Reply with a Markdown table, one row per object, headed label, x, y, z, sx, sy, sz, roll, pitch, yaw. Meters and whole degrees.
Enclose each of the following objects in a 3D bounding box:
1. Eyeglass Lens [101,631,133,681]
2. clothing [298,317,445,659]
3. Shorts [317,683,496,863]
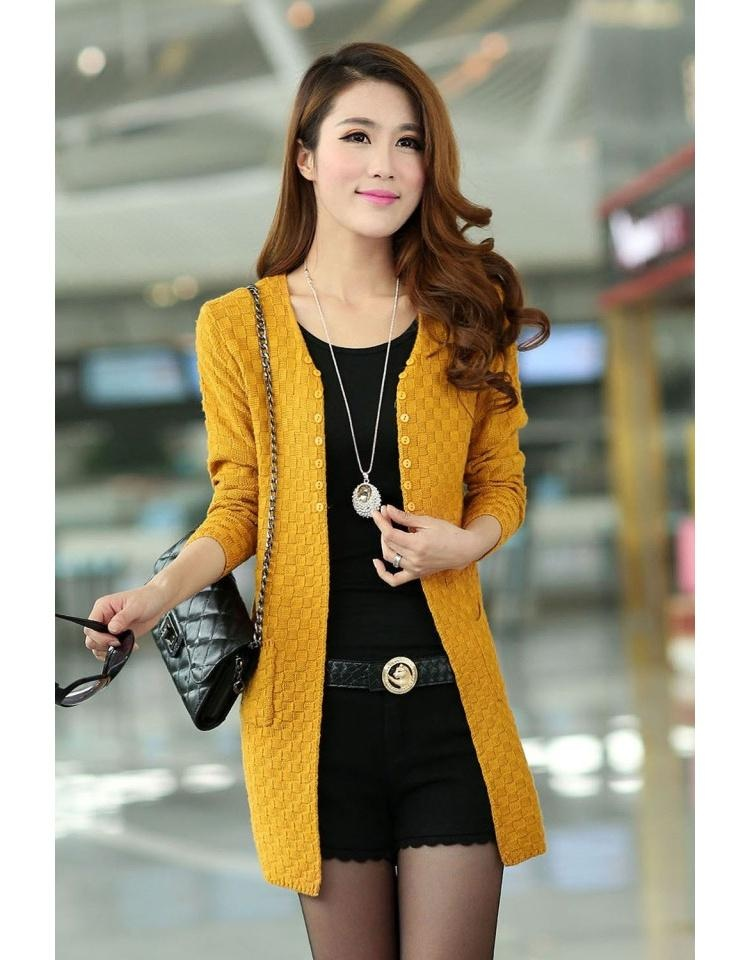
| label | x | y | z | sx | sy | sz | roll | pitch | yaw |
| --- | --- | --- | --- | --- | --- | --- | --- | --- | --- |
| Eyeglass Lens | -0.434 | 0.301 | 1.832 | 0.052 | 0.082 | 0.024 | -1 | -32 | 40 |
| clothing | -0.005 | 0.016 | 1.961 | 0.215 | 0.602 | 0.227 | -4 | 6 | -3 |
| Shorts | 0.040 | 0.527 | 1.883 | 0.397 | 0.288 | 0.195 | -4 | -5 | -7 |
